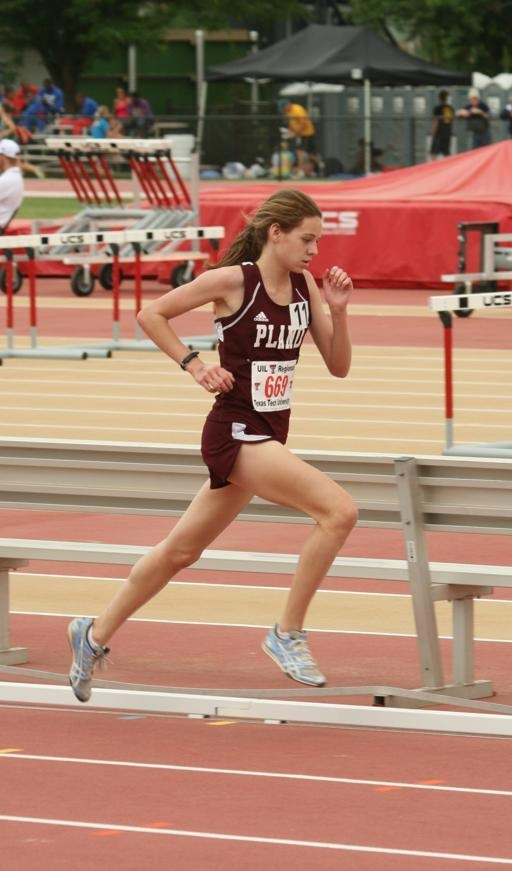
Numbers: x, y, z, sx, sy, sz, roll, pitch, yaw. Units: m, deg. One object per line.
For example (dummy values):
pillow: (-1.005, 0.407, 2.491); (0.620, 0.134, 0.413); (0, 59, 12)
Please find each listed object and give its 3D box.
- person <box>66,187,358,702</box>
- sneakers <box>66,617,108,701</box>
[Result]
person: (-0.104, 0.037, 2.530); (0.719, 1.324, 0.502); (0, 1, 2)
sneakers: (-0.468, 0.588, 2.623); (0.118, 0.223, 0.074); (-14, -16, 20)
